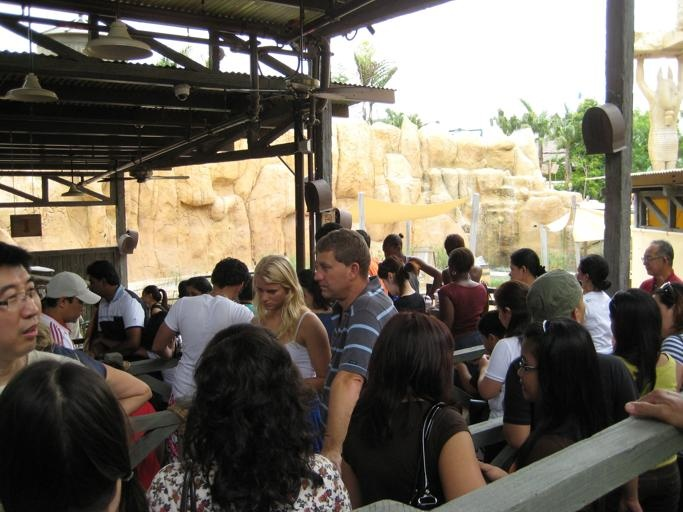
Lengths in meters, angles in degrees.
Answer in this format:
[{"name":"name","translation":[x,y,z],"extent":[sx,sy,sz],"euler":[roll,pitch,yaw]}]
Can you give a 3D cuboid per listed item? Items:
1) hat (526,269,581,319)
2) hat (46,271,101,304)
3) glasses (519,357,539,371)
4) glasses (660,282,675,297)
[{"name":"hat","translation":[1.283,0.263,3.540],"extent":[0.291,0.319,0.245],"euler":[-2,23,8]},{"name":"hat","translation":[-2.023,0.242,4.570],"extent":[0.386,0.236,0.255],"euler":[1,0,-15]},{"name":"glasses","translation":[0.870,0.510,2.811],"extent":[0.064,0.022,0.065],"euler":[11,-5,-1]},{"name":"glasses","translation":[2.055,0.216,3.825],"extent":[0.079,0.101,0.031],"euler":[-16,34,-31]}]
